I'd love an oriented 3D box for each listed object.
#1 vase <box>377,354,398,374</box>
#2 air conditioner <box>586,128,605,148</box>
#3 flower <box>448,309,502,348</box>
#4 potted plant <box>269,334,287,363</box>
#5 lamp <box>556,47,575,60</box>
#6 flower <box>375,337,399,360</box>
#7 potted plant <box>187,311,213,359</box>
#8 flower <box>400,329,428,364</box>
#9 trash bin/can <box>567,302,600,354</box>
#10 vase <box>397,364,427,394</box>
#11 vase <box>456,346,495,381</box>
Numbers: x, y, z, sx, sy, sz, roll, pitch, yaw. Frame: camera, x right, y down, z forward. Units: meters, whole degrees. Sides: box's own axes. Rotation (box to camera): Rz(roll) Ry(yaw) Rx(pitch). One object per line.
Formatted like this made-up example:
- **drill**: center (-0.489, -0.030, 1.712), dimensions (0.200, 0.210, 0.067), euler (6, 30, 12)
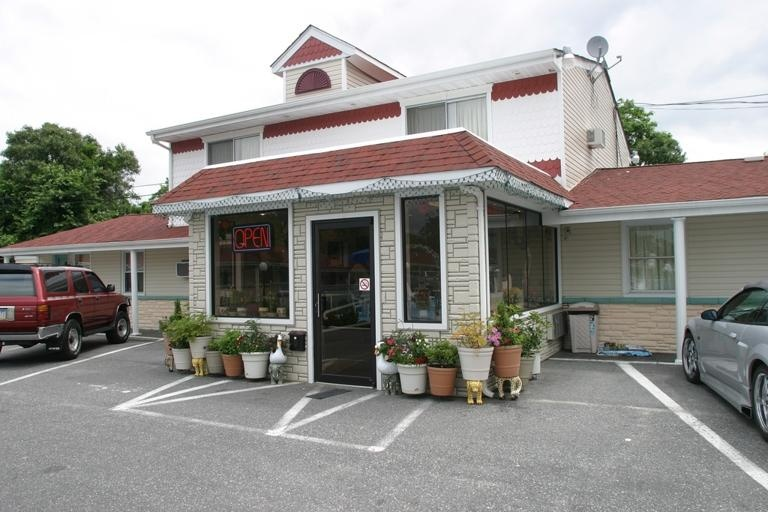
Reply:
- **vase**: center (0.041, 2.129, 11.920), dimensions (0.410, 0.412, 0.311), euler (-6, -6, 34)
- **air conditioner**: center (6.047, -3.212, 17.346), dimensions (0.485, 0.601, 0.928), euler (1, -3, 25)
- **flower**: center (1.721, 1.338, 11.566), dimensions (0.696, 0.512, 0.694), euler (2, 0, -31)
- **potted plant**: center (-2.278, 1.996, 12.953), dimensions (0.361, 0.587, 0.402), euler (-4, 11, -17)
- **lamp**: center (4.305, -4.835, 14.505), dimensions (0.411, 0.308, 0.395), euler (5, 12, 30)
- **flower**: center (0.048, 1.791, 11.867), dimensions (0.421, 0.298, 0.425), euler (2, 0, -2)
- **potted plant**: center (-4.142, 1.820, 13.701), dimensions (0.517, 0.941, 0.480), euler (-4, 11, -15)
- **flower**: center (0.537, 1.790, 11.808), dimensions (0.528, 0.553, 0.524), euler (3, -8, -5)
- **trash bin/can**: center (5.087, 1.855, 15.656), dimensions (0.810, 1.194, 0.594), euler (2, 11, 17)
- **vase**: center (0.545, 2.348, 11.773), dimensions (0.560, 0.427, 0.571), euler (-6, -10, 34)
- **vase**: center (1.686, 1.986, 11.419), dimensions (0.616, 0.486, 0.614), euler (3, -6, -31)
